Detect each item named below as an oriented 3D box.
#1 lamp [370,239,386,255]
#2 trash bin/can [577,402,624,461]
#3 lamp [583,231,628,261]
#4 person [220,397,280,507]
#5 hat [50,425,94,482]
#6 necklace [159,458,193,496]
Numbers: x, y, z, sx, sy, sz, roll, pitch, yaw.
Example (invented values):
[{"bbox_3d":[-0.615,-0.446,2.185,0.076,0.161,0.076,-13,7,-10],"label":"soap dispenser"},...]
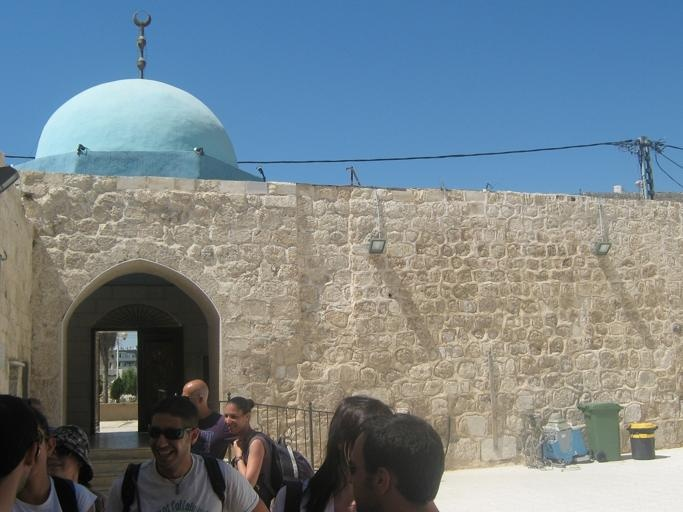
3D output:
[{"bbox_3d":[0.407,-0.141,16.888,0.247,0.202,0.182,-2,-14,-5],"label":"lamp"},{"bbox_3d":[3.735,2.476,17.128,0.768,1.007,0.739,1,-10,-6],"label":"trash bin/can"},{"bbox_3d":[3.890,-0.183,17.670,0.578,0.368,0.194,2,-15,-19],"label":"lamp"},{"bbox_3d":[-1.123,2.081,12.784,0.501,0.467,1.484,2,24,-22],"label":"person"},{"bbox_3d":[-2.826,1.946,11.881,0.492,0.326,0.517,3,-24,-4],"label":"hat"},{"bbox_3d":[-1.733,2.130,11.731,0.284,0.357,0.148,0,-10,-2],"label":"necklace"}]
